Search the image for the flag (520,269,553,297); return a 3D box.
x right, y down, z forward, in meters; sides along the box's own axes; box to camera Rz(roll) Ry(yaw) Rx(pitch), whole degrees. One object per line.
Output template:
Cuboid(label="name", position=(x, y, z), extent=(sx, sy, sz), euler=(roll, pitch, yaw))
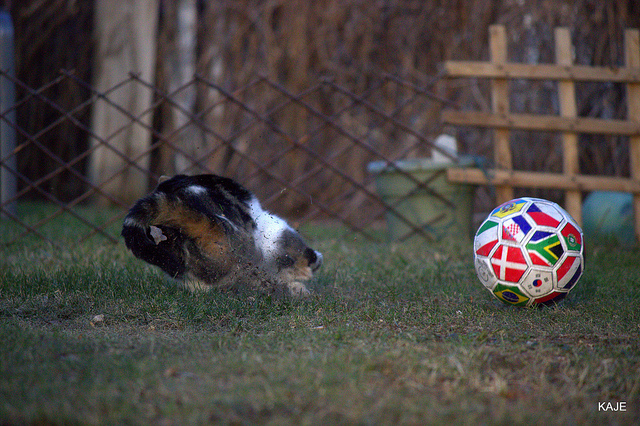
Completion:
Cuboid(label="flag", position=(2.256, 0.714, 14.357), extent=(0.274, 0.237, 0.029), euler=(-3, 21, 1))

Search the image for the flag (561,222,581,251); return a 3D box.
Cuboid(label="flag", position=(2.622, 0.250, 14.363), extent=(0.209, 0.064, 0.276), euler=(-9, 87, -17))
